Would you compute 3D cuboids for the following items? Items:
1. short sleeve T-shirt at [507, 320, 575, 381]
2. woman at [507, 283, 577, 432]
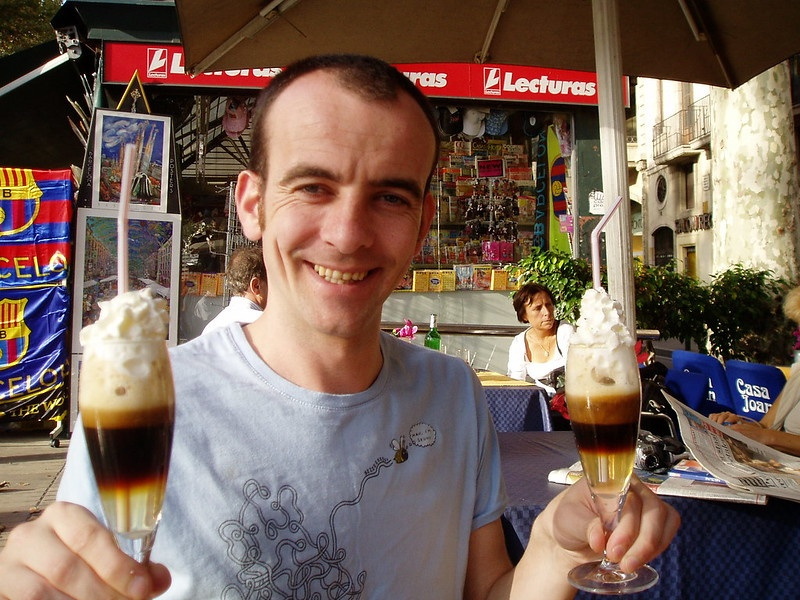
[{"bbox_3d":[1.114,0.412,4.674,0.562,0.621,0.336,-3,-29,15],"label":"short sleeve T-shirt"},{"bbox_3d":[1.077,0.415,4.483,0.466,1.248,0.666,-12,-44,16],"label":"woman"}]
